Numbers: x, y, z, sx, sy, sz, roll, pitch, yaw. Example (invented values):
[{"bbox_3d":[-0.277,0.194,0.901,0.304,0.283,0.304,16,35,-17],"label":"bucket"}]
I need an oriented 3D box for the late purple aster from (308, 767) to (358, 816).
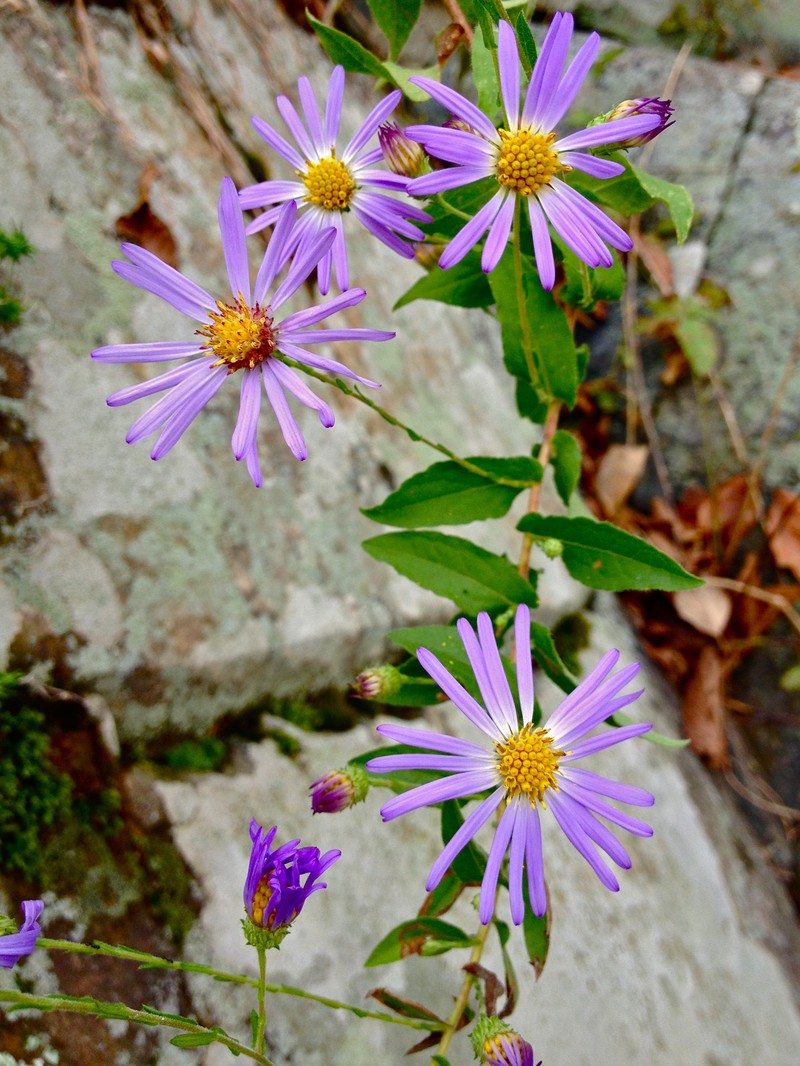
[{"bbox_3d":[-0.097,0.373,1.471,0.079,0.059,0.050,-25,80,1],"label":"late purple aster"}]

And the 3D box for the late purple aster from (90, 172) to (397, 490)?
[{"bbox_3d":[-0.226,-0.279,1.482,0.447,0.432,0.102,-34,76,-17],"label":"late purple aster"}]

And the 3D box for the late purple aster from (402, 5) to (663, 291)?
[{"bbox_3d":[0.173,-0.493,1.383,0.324,0.274,0.375,13,82,7],"label":"late purple aster"}]

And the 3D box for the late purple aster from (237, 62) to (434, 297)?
[{"bbox_3d":[-0.101,-0.545,1.568,0.395,0.081,0.347,7,85,5],"label":"late purple aster"}]
